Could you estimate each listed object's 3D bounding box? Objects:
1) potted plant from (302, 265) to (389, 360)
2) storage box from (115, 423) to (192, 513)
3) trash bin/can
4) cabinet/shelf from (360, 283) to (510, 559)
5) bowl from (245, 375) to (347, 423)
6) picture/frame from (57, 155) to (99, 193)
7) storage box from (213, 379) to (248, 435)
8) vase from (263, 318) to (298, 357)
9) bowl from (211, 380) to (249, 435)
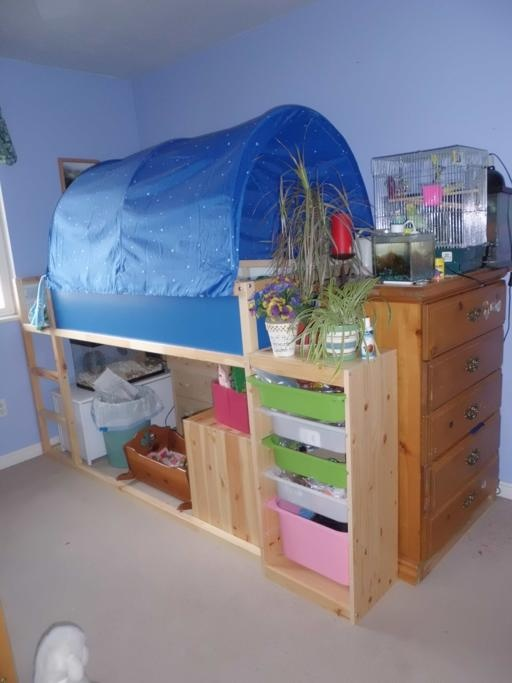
[{"bbox_3d":[0.264,-0.078,1.697,0.284,0.288,0.215,-8,7,-39],"label":"potted plant"},{"bbox_3d":[-0.464,0.614,2.634,0.351,0.160,0.351,20,29,40],"label":"storage box"},{"bbox_3d":[-0.705,0.493,3.032,0.397,0.459,0.468,3,8,28],"label":"trash bin/can"},{"bbox_3d":[0.628,0.282,1.853,0.377,1.012,0.785,9,22,40],"label":"cabinet/shelf"},{"bbox_3d":[0.120,0.190,1.674,0.415,0.123,0.097,7,16,44],"label":"bowl"},{"bbox_3d":[-1.158,-1.103,3.417,0.084,0.215,0.310,2,13,28],"label":"picture/frame"},{"bbox_3d":[-0.098,0.262,2.082,0.116,0.172,0.208,-10,14,-29],"label":"storage box"},{"bbox_3d":[0.086,-0.012,1.715,0.110,0.122,0.108,-1,6,14],"label":"vase"},{"bbox_3d":[-0.101,0.267,2.083,0.116,0.162,0.206,-10,14,-28],"label":"bowl"}]
